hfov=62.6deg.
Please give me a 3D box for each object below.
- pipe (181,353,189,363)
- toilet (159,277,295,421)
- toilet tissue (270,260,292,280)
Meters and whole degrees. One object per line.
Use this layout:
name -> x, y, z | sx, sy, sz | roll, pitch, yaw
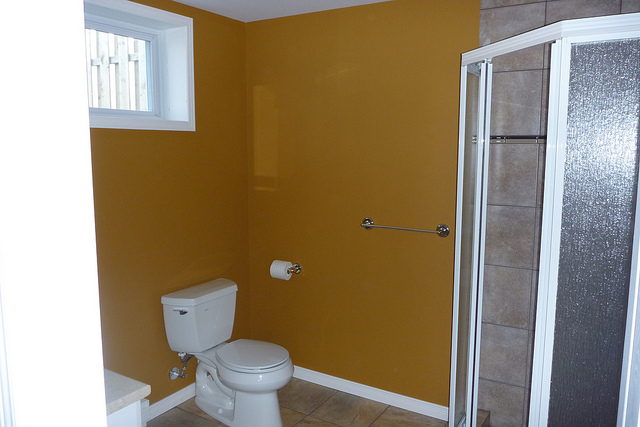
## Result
pipe -> -0.858, 0.915, 3.338 | 0.037, 0.015, 0.052 | 12, 17, 28
toilet -> -0.474, 0.794, 3.466 | 0.912, 0.932, 0.618 | 2, 7, 25
toilet tissue -> -0.269, 0.379, 3.642 | 0.141, 0.131, 0.116 | 0, 16, 24
